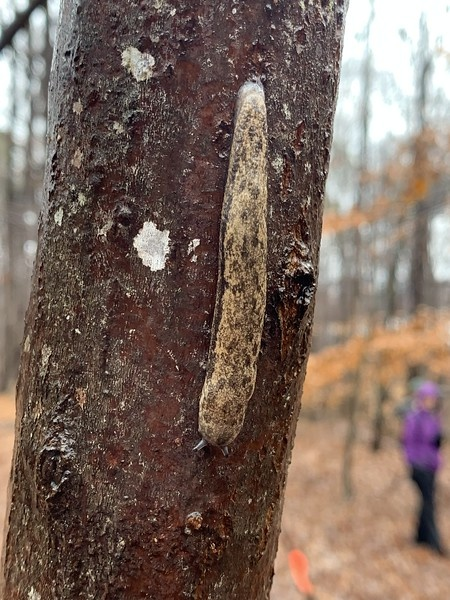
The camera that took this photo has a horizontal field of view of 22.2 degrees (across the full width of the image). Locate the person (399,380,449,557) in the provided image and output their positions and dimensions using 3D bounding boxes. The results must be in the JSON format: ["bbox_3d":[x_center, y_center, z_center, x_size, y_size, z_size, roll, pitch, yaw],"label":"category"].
[{"bbox_3d":[0.791,0.624,4.562,0.160,0.762,0.128,-11,18,-42],"label":"person"}]

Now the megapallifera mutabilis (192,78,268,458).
[{"bbox_3d":[0.035,-0.072,3.195,0.162,1.061,0.167,9,15,16],"label":"megapallifera mutabilis"}]

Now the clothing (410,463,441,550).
[{"bbox_3d":[0.803,0.835,4.553,0.082,0.407,0.093,2,9,-21],"label":"clothing"}]

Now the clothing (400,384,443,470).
[{"bbox_3d":[0.794,0.532,4.553,0.096,0.414,0.087,8,10,31],"label":"clothing"}]
